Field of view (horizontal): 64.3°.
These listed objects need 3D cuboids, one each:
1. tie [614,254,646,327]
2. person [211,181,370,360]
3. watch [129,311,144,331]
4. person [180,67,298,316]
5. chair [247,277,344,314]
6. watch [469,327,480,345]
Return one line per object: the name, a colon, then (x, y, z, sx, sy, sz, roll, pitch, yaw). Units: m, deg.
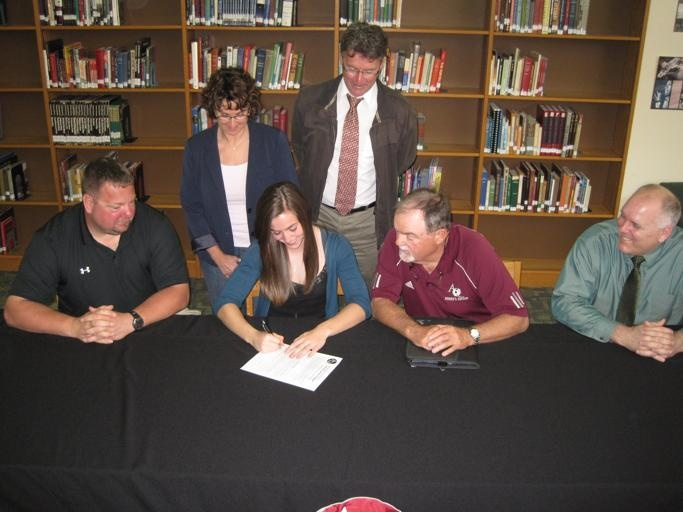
tie: (1.374, 0.167, 2.620, 0.111, 0.539, 0.041, 13, 52, 36)
person: (-0.231, 0.175, 2.744, 0.723, 1.025, 0.719, 10, 44, 7)
watch: (-0.915, 0.292, 2.430, 0.050, 0.085, 0.078, -11, 0, -36)
person: (-0.662, -0.106, 3.426, 0.656, 1.975, 0.557, -4, 34, -18)
chair: (-0.256, 0.180, 2.836, 0.308, 0.233, 0.409, 0, -5, -8)
watch: (0.568, 0.339, 2.321, 0.017, 0.048, 0.055, -9, 39, 20)
